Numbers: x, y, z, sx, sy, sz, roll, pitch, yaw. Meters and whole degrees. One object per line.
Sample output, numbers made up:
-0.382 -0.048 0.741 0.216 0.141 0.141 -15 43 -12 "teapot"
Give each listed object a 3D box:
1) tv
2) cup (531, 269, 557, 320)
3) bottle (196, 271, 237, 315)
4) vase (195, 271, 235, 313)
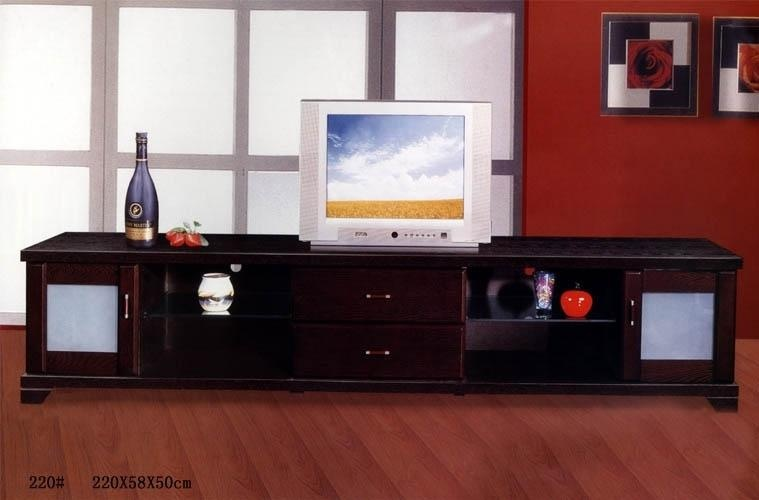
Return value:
0.100 -0.438 3.919 1.048 0.772 0.465 1 15 3 "tv"
0.909 0.253 3.839 0.205 0.237 0.207 8 -12 2 "cup"
-0.875 0.228 3.829 0.229 0.210 0.227 -3 8 -41 "bottle"
-0.874 0.224 3.827 0.180 0.214 0.178 1 7 -8 "vase"
